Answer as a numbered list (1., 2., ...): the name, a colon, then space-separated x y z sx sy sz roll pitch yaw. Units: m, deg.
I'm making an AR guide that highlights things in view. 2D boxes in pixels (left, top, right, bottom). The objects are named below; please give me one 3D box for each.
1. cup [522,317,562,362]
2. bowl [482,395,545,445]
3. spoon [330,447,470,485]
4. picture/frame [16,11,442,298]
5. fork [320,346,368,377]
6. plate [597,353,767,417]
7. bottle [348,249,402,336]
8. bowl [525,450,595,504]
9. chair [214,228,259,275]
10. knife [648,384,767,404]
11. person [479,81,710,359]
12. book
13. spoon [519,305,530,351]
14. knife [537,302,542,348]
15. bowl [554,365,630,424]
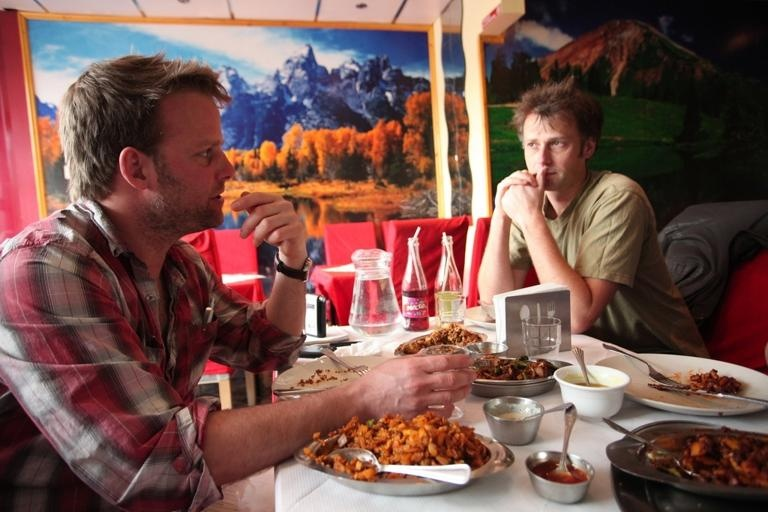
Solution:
1. cup: 0.457 0.250 1.539 0.118 0.130 0.118 -1 -1 0
2. bowl: 0.299 0.400 1.230 0.162 0.081 0.162 6 -35 4
3. spoon: 0.013 0.441 1.102 0.335 0.042 0.080 4 40 9
4. picture/frame: -0.977 -0.794 3.338 2.800 1.922 0.048 -4 3 -19
5. fork: -0.123 0.282 1.533 0.049 0.040 0.273 -4 14 -28
6. plate: 0.790 0.339 1.322 0.250 0.037 0.197 2 5 35
7. bottle: -0.043 0.134 1.988 0.271 0.302 0.269 2 16 15
8. bowl: 0.360 0.445 1.058 0.103 0.043 0.103 -5 3 0
9. chair: -1.089 -0.019 3.793 0.383 0.367 0.275 -2 -4 -8
10. knife: 0.822 0.346 1.288 0.260 0.027 0.028 4 -8 32
11. person: 0.980 -0.144 2.817 1.215 1.681 1.033 -2 0 -15
12. book: 0.516 0.219 1.613 0.094 0.207 0.252 4 -10 -31
13. spoon: 0.429 0.216 1.569 0.032 0.146 0.022 4 -6 11
14. knife: 0.476 0.185 1.578 0.019 0.193 0.021 2 -9 4
15. bowl: 0.517 0.356 1.287 0.182 0.103 0.184 0 0 0
